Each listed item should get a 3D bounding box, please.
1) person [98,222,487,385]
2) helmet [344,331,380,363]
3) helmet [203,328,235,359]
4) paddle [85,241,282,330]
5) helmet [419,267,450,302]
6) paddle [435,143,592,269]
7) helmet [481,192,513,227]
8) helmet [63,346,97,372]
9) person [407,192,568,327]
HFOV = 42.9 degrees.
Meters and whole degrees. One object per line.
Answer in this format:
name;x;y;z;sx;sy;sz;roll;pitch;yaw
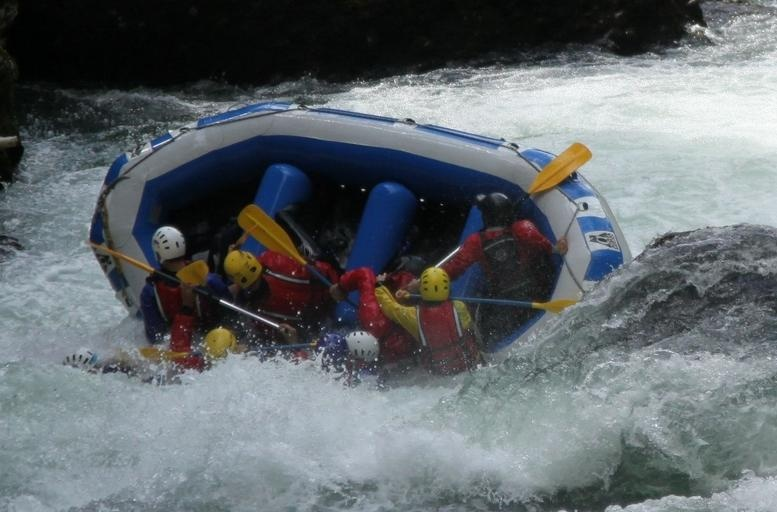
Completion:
person;-1.126;0.487;10.386;4.323;1.104;1.184;7;32;1
helmet;-0.260;0.930;10.271;0.267;0.350;0.290;-43;14;-9
helmet;-1.764;0.906;10.269;0.327;0.210;0.284;-23;42;-39
paddle;-2.139;0.311;10.713;2.304;0.233;0.180;20;42;-2
helmet;0.468;0.286;10.084;0.283;0.336;0.320;1;-5;-1
paddle;1.258;-0.554;10.573;2.273;0.085;0.256;-31;75;0
helmet;1.120;-0.505;10.641;0.307;0.361;0.384;-3;2;1
helmet;-3.213;1.100;10.343;0.321;0.320;0.098;36;43;-25
person;1.119;0.057;10.467;1.268;0.973;0.418;54;13;0
